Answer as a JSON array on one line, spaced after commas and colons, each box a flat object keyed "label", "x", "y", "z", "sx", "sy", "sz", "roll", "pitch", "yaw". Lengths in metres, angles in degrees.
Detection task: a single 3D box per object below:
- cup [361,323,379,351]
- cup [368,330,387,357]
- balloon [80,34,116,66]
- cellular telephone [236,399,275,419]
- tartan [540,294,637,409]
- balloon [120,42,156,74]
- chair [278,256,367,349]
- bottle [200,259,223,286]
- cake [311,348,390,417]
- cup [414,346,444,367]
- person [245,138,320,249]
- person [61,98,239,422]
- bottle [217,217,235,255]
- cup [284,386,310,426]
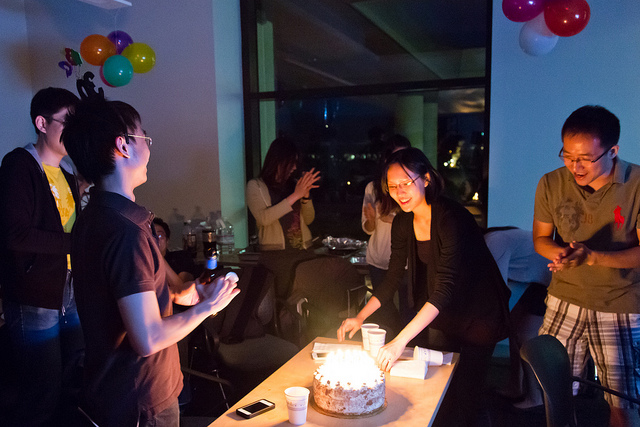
[{"label": "cup", "x": 0.272, "y": 0.718, "z": 2.801, "sx": 0.134, "sy": 0.142, "sz": 0.135, "roll": -2, "pitch": -2, "yaw": 0}, {"label": "cup", "x": 0.322, "y": 0.741, "z": 2.757, "sx": 0.131, "sy": 0.139, "sz": 0.134, "roll": -2, "pitch": -1, "yaw": 0}, {"label": "balloon", "x": -1.905, "y": -1.422, "z": 4.146, "sx": 0.340, "sy": 0.264, "sz": 0.260, "roll": -2, "pitch": 1, "yaw": -14}, {"label": "cellular telephone", "x": -0.320, "y": 0.989, "z": 2.426, "sx": 0.077, "sy": 0.025, "sz": 0.136, "roll": 7, "pitch": 11, "yaw": 40}, {"label": "tartan", "x": 1.609, "y": 0.787, "z": 2.877, "sx": 0.522, "sy": 0.531, "sz": 0.135, "roll": 6, "pitch": 9, "yaw": 42}, {"label": "balloon", "x": -1.603, "y": -1.413, "z": 4.246, "sx": 0.260, "sy": 0.313, "sz": 0.264, "roll": 4, "pitch": 17, "yaw": 15}, {"label": "chair", "x": 0.058, "y": 0.755, "z": 4.305, "sx": 0.664, "sy": 0.903, "sz": 0.818, "roll": -1, "pitch": -3, "yaw": 38}, {"label": "bottle", "x": -0.657, "y": 0.356, "z": 2.916, "sx": 0.077, "sy": 0.068, "sz": 0.288, "roll": -6, "pitch": -28, "yaw": -13}, {"label": "cake", "x": 0.123, "y": 0.911, "z": 2.524, "sx": 0.356, "sy": 0.137, "sz": 0.371, "roll": 10, "pitch": -2, "yaw": 20}, {"label": "cup", "x": 0.623, "y": 0.816, "z": 2.726, "sx": 0.144, "sy": 0.114, "sz": 0.113, "roll": 6, "pitch": -5, "yaw": 2}, {"label": "person", "x": -0.355, "y": -0.185, "z": 4.479, "sx": 0.649, "sy": 1.032, "sz": 0.426, "roll": -1, "pitch": 7, "yaw": -7}, {"label": "person", "x": -0.787, "y": 0.237, "z": 2.168, "sx": 0.598, "sy": 1.502, "sz": 0.366, "roll": -4, "pitch": 8, "yaw": -29}, {"label": "bottle", "x": -0.983, "y": 0.240, "z": 4.971, "sx": 0.227, "sy": 0.409, "sz": 0.231, "roll": -3, "pitch": -2, "yaw": 0}, {"label": "cup", "x": -0.098, "y": 0.939, "z": 2.381, "sx": 0.148, "sy": 0.161, "sz": 0.154, "roll": -4, "pitch": 6, "yaw": 0}]
